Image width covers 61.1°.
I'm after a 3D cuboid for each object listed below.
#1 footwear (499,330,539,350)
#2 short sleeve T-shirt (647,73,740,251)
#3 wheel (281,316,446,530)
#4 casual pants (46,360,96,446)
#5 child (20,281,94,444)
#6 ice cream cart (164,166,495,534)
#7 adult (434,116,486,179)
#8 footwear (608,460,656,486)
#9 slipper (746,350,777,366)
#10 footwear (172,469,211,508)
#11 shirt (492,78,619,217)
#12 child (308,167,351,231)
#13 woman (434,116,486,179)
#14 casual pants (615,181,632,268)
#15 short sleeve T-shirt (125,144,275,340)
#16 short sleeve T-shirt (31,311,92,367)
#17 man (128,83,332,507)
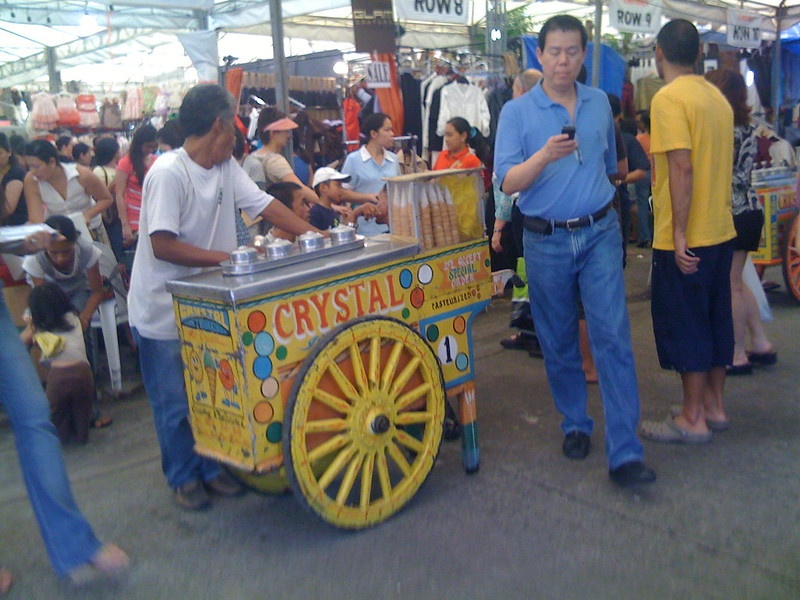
[{"bbox_3d":[1.138,0.390,6.422,0.375,0.161,0.129,4,5,42],"label":"footwear"},{"bbox_3d":[1.942,-0.937,4.437,0.669,0.983,0.398,-13,15,-37],"label":"short sleeve T-shirt"},{"bbox_3d":[-0.176,0.669,3.712,1.083,1.128,0.267,12,-7,-41],"label":"wheel"},{"bbox_3d":[-2.544,0.804,5.247,0.328,0.696,0.252,-4,17,-26],"label":"casual pants"},{"bbox_3d":[-2.712,0.556,5.374,0.492,1.443,0.440,-5,23,-20],"label":"child"},{"bbox_3d":[-0.365,0.248,4.118,1.805,1.808,1.062,-16,12,-42],"label":"ice cream cart"},{"bbox_3d":[0.575,-1.533,6.757,0.349,0.587,0.642,-19,29,-33],"label":"adult"},{"bbox_3d":[1.381,1.059,4.027,0.250,0.179,0.139,-18,8,34],"label":"footwear"},{"bbox_3d":[2.975,0.480,5.626,0.101,0.126,0.283,-11,2,-10],"label":"slipper"},{"bbox_3d":[-1.307,1.177,4.185,0.139,0.099,0.243,-5,12,-37],"label":"footwear"},{"bbox_3d":[1.011,-0.924,4.200,0.846,0.763,0.463,-11,21,-11],"label":"shirt"},{"bbox_3d":[-0.614,-0.877,6.091,0.396,0.589,0.329,-3,-4,-33],"label":"child"},{"bbox_3d":[0.579,-1.547,6.746,0.320,0.555,0.634,-12,26,-20],"label":"woman"},{"bbox_3d":[2.718,-0.977,8.157,0.194,0.864,0.261,-15,30,5],"label":"casual pants"},{"bbox_3d":[-1.212,-0.430,4.226,0.832,0.978,0.500,-17,30,-40],"label":"short sleeve T-shirt"},{"bbox_3d":[-2.652,0.300,5.283,0.453,0.267,0.383,29,30,34],"label":"short sleeve T-shirt"},{"bbox_3d":[-0.980,0.027,4.210,1.303,2.568,0.982,-5,11,-23],"label":"man"}]
